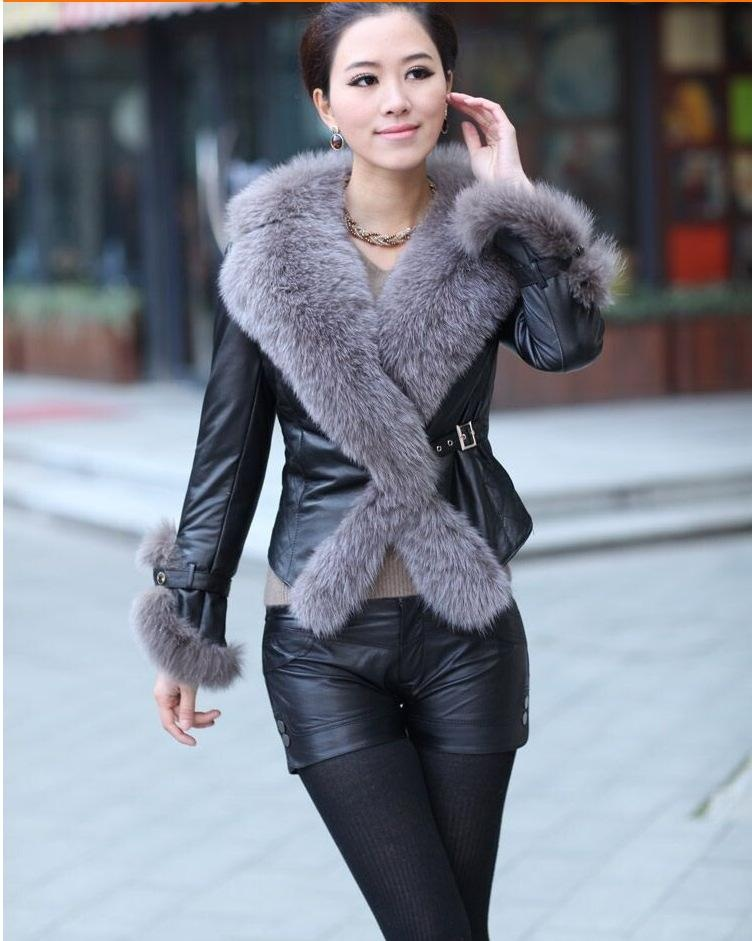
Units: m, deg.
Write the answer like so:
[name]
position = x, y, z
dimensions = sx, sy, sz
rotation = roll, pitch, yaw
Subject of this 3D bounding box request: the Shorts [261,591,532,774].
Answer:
[Shorts]
position = 0.044, 0.298, 1.949
dimensions = 0.442, 0.245, 0.222
rotation = -2, 13, -2

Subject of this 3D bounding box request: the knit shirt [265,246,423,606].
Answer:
[knit shirt]
position = -0.053, -0.051, 1.923
dimensions = 0.353, 0.487, 0.130
rotation = -1, -15, 6

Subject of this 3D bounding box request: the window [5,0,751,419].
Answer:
[window]
position = 0.323, -1.564, 7.268
dimensions = 3.213, 1.625, 3.091
rotation = 1, 5, 30

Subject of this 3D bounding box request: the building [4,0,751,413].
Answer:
[building]
position = 0.312, -1.308, 7.304
dimensions = 3.221, 1.645, 3.080
rotation = 1, 6, 29
